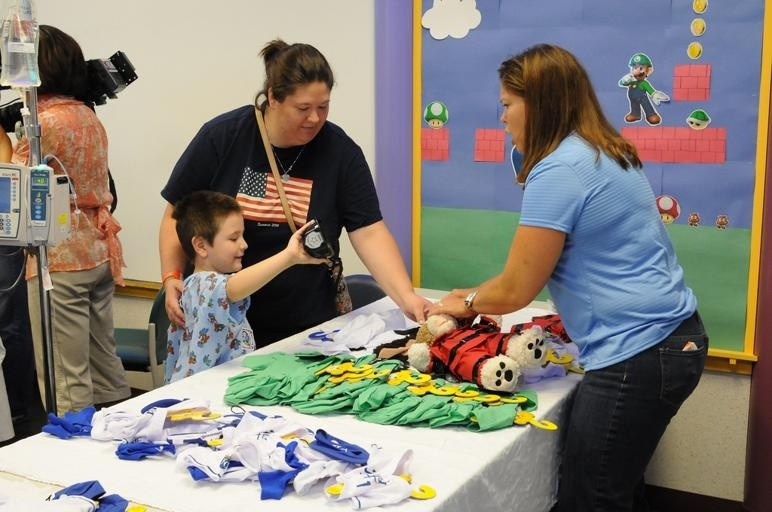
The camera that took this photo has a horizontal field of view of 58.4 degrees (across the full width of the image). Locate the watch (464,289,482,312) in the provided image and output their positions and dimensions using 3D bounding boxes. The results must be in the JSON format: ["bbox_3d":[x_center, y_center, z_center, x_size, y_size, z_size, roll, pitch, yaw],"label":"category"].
[{"bbox_3d":[0.301,0.156,2.394,0.045,0.073,0.068,14,-13,15],"label":"watch"}]

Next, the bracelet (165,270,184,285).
[{"bbox_3d":[-0.880,0.098,2.823,0.050,0.055,0.029,10,41,-7],"label":"bracelet"}]

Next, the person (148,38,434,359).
[{"bbox_3d":[-0.369,0.026,3.024,1.178,1.807,0.632,9,25,4],"label":"person"}]

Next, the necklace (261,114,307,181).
[{"bbox_3d":[-0.438,-0.436,2.845,0.146,0.278,0.064,-20,14,-11],"label":"necklace"}]
